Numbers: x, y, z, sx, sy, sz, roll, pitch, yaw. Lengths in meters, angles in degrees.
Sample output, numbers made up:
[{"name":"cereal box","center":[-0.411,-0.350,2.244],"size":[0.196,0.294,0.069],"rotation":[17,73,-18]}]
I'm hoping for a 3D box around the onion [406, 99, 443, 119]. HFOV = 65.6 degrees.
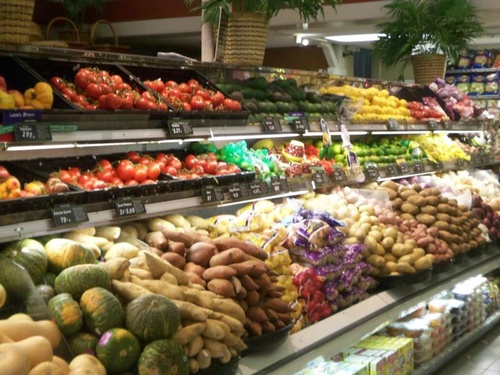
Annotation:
[{"name":"onion","center":[2.189,-0.980,4.892],"size":[0.263,0.085,0.275],"rotation":[25,22,-15]}]
